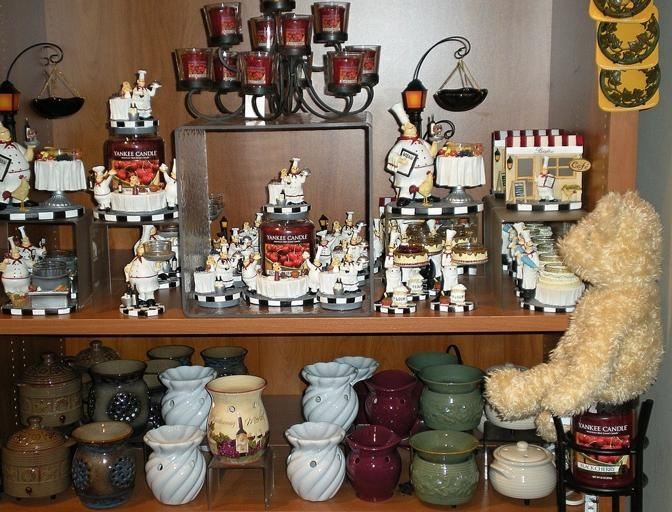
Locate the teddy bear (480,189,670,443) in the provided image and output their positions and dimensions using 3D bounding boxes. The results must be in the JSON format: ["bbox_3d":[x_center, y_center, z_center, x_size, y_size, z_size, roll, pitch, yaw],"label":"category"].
[{"bbox_3d":[0.668,0.113,2.015,0.565,0.776,0.583,0,5,24],"label":"teddy bear"}]
